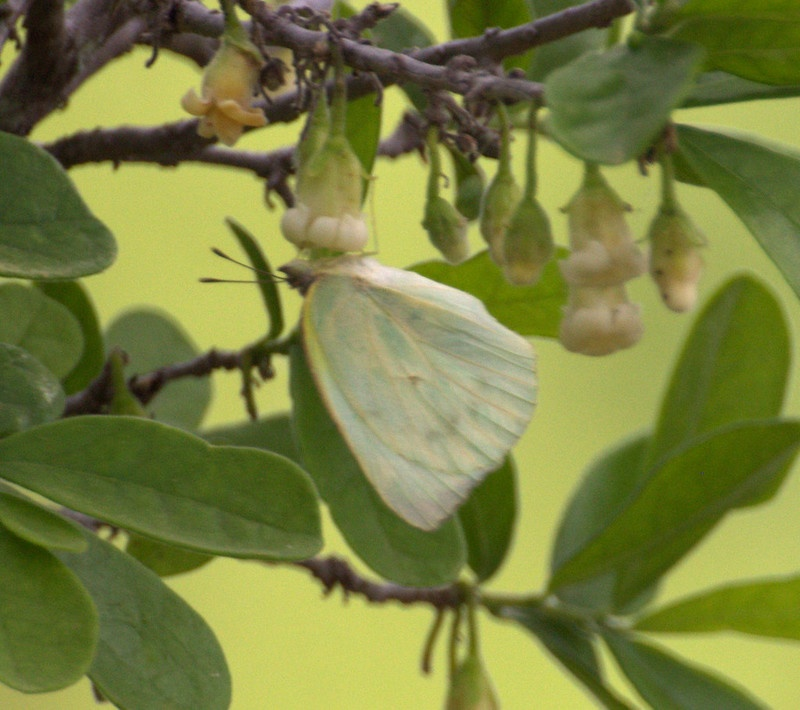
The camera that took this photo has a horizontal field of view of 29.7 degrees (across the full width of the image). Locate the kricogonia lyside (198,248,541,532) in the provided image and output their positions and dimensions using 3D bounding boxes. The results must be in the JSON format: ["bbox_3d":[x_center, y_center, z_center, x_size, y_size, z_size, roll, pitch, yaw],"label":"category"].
[{"bbox_3d":[-0.029,0.037,1.140,0.201,0.216,0.114,49,-33,10],"label":"kricogonia lyside"}]

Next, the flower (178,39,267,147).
[{"bbox_3d":[-0.115,-0.172,1.010,0.060,0.022,0.064,18,-91,-16],"label":"flower"}]

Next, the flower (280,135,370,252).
[{"bbox_3d":[-0.046,-0.105,1.008,0.058,0.035,0.075,18,-54,-2],"label":"flower"}]

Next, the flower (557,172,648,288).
[{"bbox_3d":[0.138,-0.084,1.023,0.056,0.042,0.088,4,-55,8],"label":"flower"}]
